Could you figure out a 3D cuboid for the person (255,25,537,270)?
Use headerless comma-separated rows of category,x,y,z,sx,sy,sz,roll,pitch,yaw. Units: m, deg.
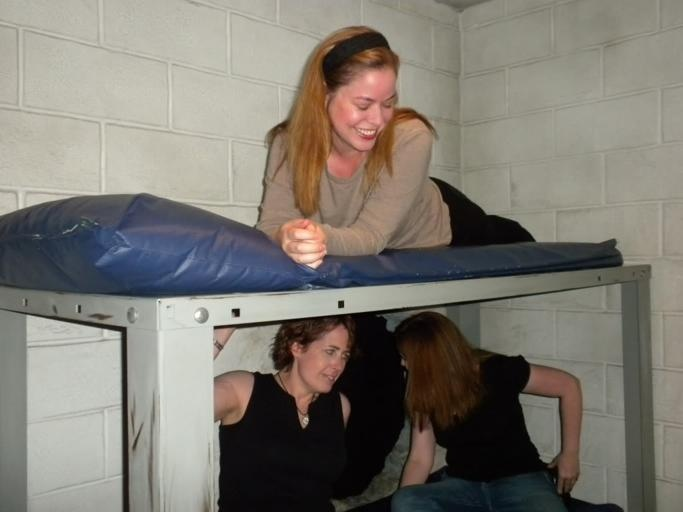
person,0.080,-0.353,2.221,0.590,0.807,1.130,-1,-2,42
